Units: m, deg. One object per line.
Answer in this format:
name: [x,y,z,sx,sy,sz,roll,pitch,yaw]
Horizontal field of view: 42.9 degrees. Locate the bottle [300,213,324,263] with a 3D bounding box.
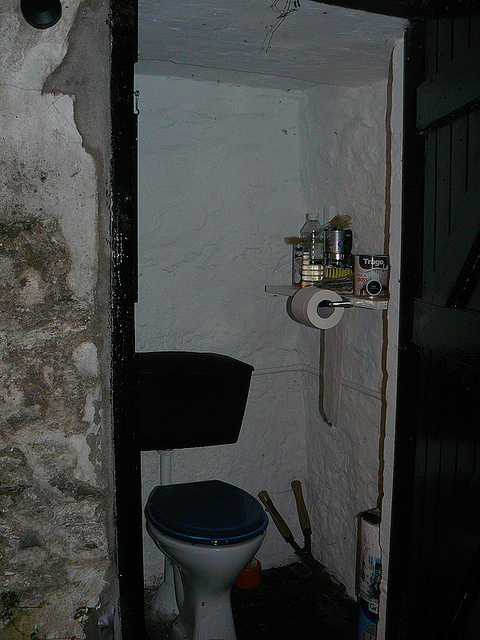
bottle: [0.219,-0.242,1.836,0.032,0.158,0.065,-4,7,-23]

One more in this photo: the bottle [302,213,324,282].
bottle: [0.228,-0.226,1.901,0.064,0.212,0.253,2,6,6]

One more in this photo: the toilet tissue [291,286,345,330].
toilet tissue: [0.207,-0.031,1.654,0.135,0.111,0.141,4,6,5]

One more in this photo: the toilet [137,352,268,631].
toilet: [-0.119,0.534,1.868,0.382,0.832,0.568,2,6,-4]

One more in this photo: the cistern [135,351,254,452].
cistern: [-0.151,0.256,1.814,0.359,0.274,0.312,0,7,-24]
